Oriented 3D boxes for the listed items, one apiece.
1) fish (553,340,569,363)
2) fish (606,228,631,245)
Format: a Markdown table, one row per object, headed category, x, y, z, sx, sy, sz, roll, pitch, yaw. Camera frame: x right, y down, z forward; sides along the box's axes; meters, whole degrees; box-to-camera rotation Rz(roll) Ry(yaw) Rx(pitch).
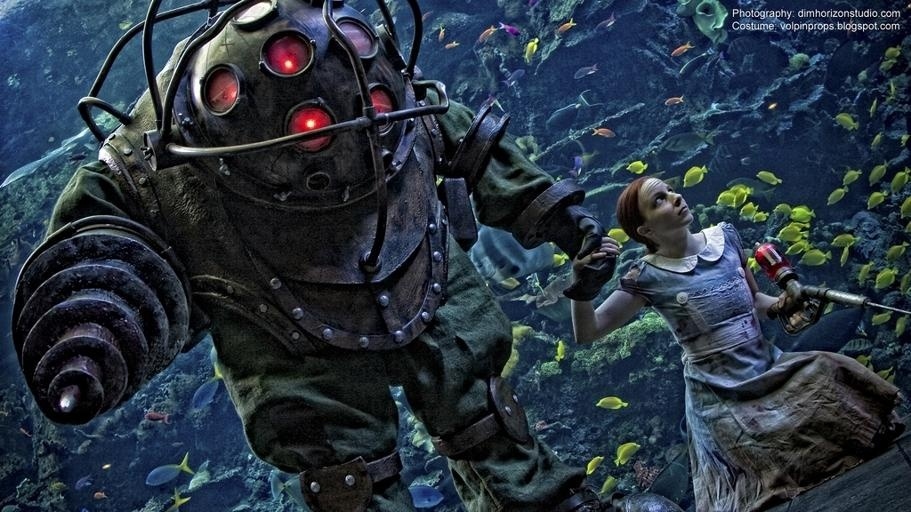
| category | x | y | z | sx | sy | sz | roll | pitch | yaw |
| --- | --- | --- | --- | --- | --- | --- | --- | --- | --- |
| fish | 2.318 | 2.105 | 17.949 | 0.313 | 0.527 | 0.326 | 13 | -1 | 11 |
| fish | 3.129 | -0.374 | 15.697 | 0.429 | 0.078 | 0.421 | 9 | -13 | -4 |
